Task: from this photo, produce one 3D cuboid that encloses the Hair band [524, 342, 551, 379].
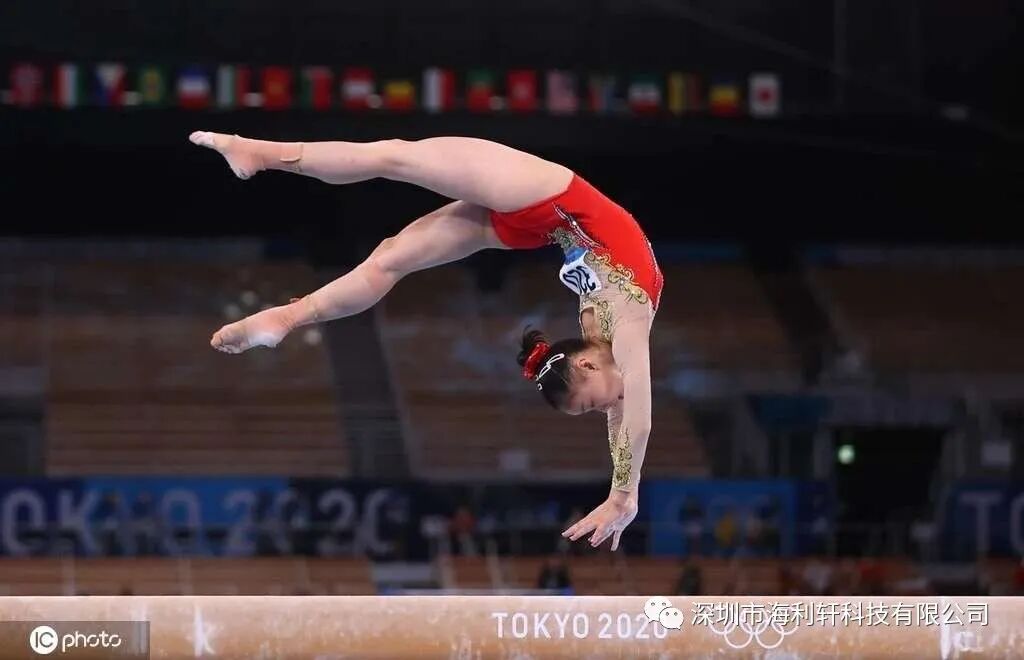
[{"bbox_3d":[0.233,0.240,13.302,0.073,0.262,0.166,17,21,-34],"label":"Hair band"}]
